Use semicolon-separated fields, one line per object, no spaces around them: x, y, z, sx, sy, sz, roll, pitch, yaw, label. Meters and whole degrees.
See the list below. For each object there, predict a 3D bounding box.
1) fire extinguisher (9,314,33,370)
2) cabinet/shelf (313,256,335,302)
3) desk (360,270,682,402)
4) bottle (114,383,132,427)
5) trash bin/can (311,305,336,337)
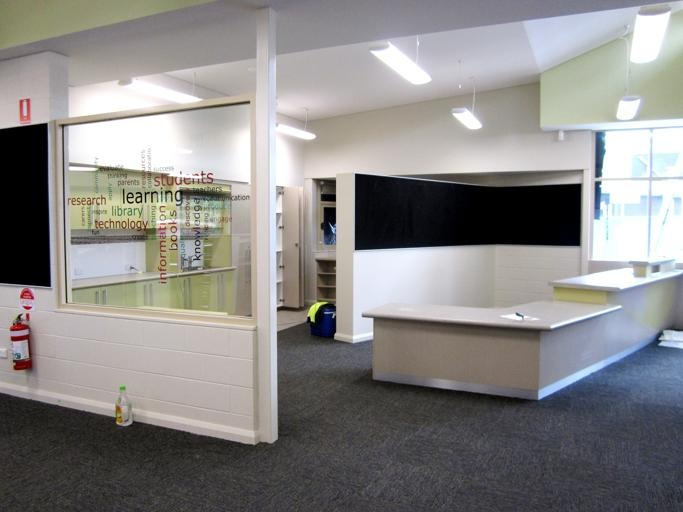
-3.359;0.899;5.121;0.199;0.586;0.278;-8;14;-36;fire extinguisher
-0.361;0.429;10.069;0.391;0.930;0.411;1;11;1;cabinet/shelf
2.495;0.885;6.243;4.276;1.124;1.530;-8;14;-36;desk
-2.078;1.377;4.625;0.164;0.352;0.294;-5;12;-26;bottle
-0.312;1.020;7.761;0.504;0.427;0.417;1;4;38;trash bin/can
